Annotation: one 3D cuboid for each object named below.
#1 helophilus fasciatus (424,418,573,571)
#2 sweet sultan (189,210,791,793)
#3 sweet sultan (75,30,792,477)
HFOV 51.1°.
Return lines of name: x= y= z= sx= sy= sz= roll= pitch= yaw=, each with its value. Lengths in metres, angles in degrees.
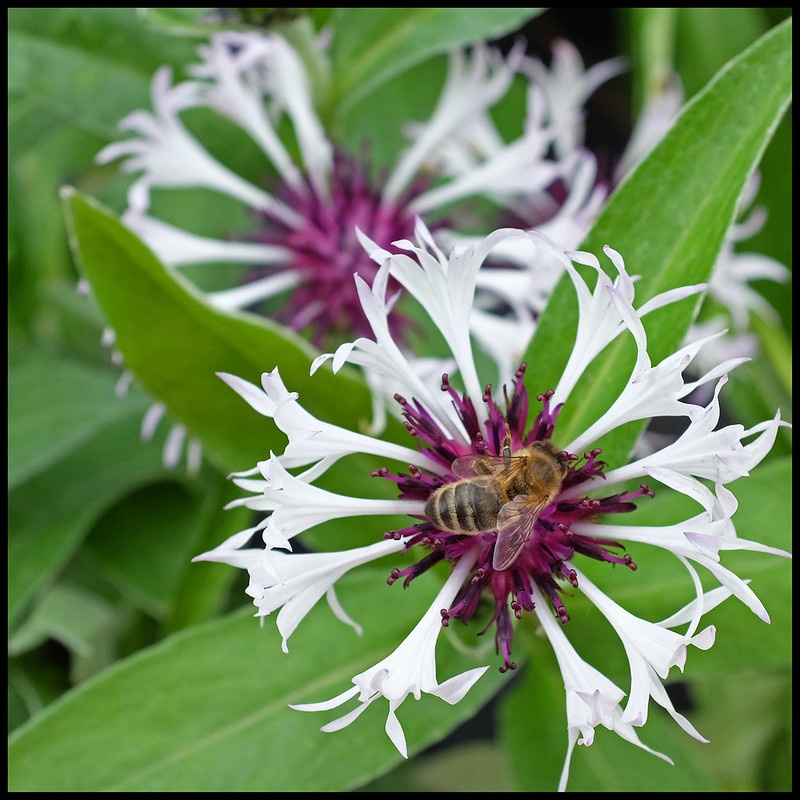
helophilus fasciatus: x=0.134 y=0.128 z=1.129 sx=0.159 sy=0.220 sz=0.132 roll=-3 pitch=0 yaw=-2
sweet sultan: x=0.167 y=0.261 z=1.193 sx=0.747 sy=1.038 sz=0.566 roll=-12 pitch=26 yaw=9
sweet sultan: x=-0.032 y=-0.300 z=1.453 sx=0.921 sy=0.535 sz=0.942 roll=-27 pitch=58 yaw=-14
